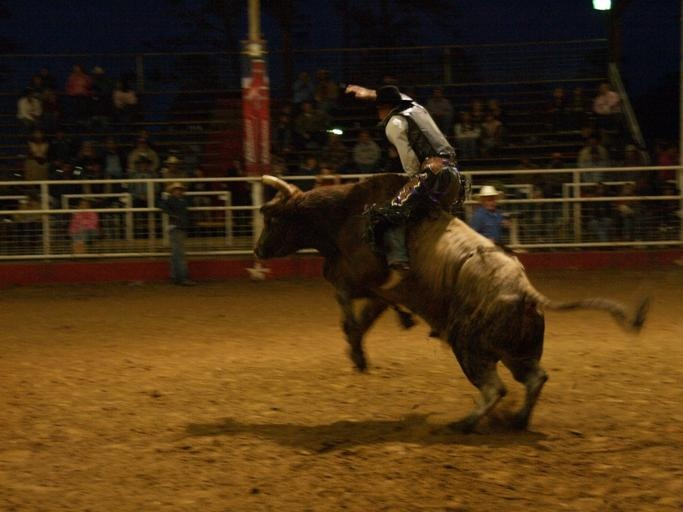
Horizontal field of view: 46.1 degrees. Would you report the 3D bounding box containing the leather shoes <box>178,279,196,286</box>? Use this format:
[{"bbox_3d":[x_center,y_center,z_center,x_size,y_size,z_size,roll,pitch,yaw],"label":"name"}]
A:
[{"bbox_3d":[-2.414,0.421,12.568,0.320,0.073,0.107,2,-21,16],"label":"leather shoes"}]

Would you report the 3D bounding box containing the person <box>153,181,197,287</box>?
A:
[{"bbox_3d":[-2.573,-0.323,12.493,0.427,1.571,0.409,-5,15,-10],"label":"person"}]

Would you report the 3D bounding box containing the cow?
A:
[{"bbox_3d":[0.568,0.299,6.483,2.176,1.899,0.647,9,18,41],"label":"cow"}]

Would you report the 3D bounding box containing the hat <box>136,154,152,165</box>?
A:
[{"bbox_3d":[-3.541,-1.719,14.382,0.353,0.153,0.261,-1,-9,2],"label":"hat"}]

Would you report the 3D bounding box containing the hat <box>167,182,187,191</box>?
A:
[{"bbox_3d":[-2.550,-1.090,12.445,0.266,0.063,0.234,1,0,9],"label":"hat"}]

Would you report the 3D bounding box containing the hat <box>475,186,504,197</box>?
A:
[{"bbox_3d":[1.934,-0.832,10.516,0.387,0.085,0.328,-2,2,1],"label":"hat"}]
